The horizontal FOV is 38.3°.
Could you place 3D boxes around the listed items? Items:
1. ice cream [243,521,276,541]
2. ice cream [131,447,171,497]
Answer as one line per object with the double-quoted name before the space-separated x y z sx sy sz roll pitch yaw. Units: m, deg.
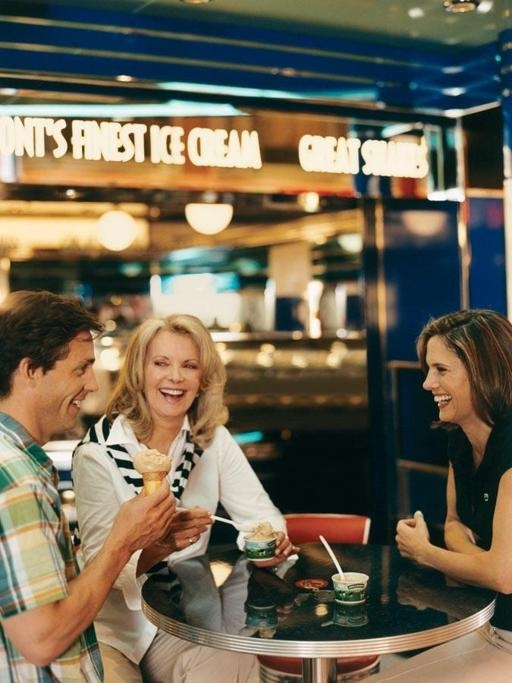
"ice cream" 0.006 0.588 2.272 0.100 0.031 0.074 0 0 28
"ice cream" -0.305 0.377 2.152 0.117 0.128 0.132 1 3 -10
